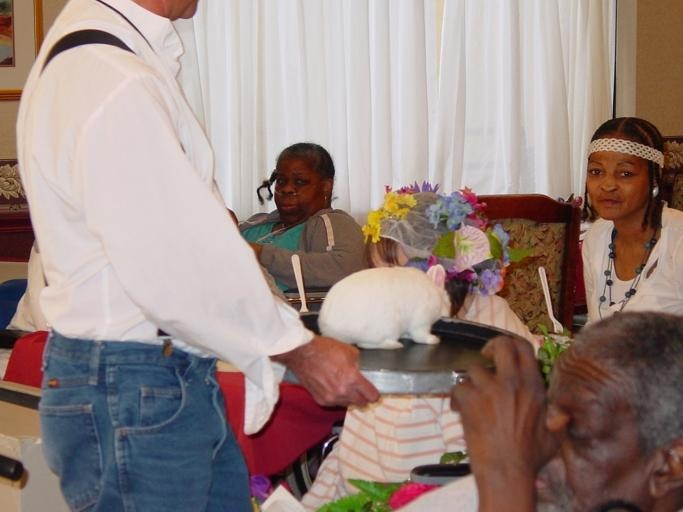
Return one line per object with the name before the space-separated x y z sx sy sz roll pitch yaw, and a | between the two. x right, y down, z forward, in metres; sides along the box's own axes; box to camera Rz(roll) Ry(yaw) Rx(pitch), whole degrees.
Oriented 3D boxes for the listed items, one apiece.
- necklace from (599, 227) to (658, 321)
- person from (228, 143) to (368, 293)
necklace | 0.950 0.056 2.217 0.148 0.286 0.145 0 16 9
person | -0.150 -0.143 2.903 0.544 0.689 0.794 3 2 -37
